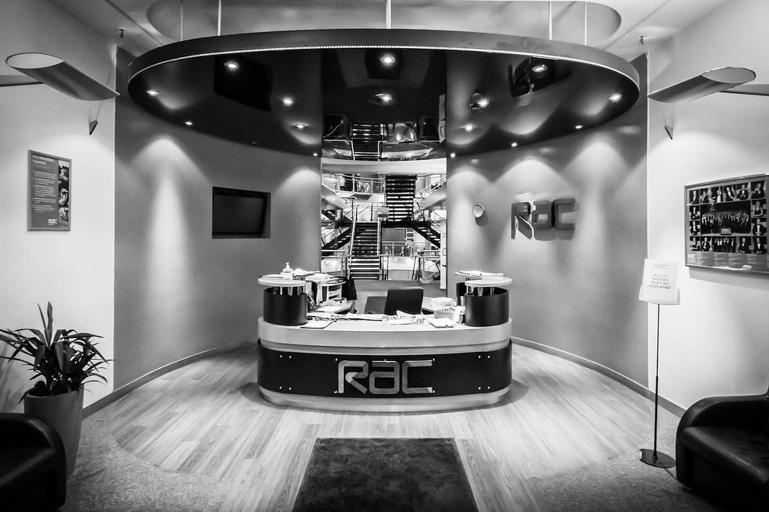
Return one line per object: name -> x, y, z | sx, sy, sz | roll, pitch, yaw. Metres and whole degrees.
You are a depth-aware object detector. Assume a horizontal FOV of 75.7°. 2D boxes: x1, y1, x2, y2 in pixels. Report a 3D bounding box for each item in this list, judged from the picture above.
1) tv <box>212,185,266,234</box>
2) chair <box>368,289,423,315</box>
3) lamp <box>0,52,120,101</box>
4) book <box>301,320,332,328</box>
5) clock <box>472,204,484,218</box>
tv -> -2.535, -0.824, 8.440 | 0.122, 0.614, 0.883 | 6, 5, 40
chair -> 0.165, 0.628, 6.770 | 0.403, 0.358, 0.595 | 2, 1, -9
lamp -> -3.042, -1.696, 4.661 | 0.474, 0.204, 0.978 | -8, -12, 14
book -> -0.884, 0.873, 6.408 | 0.386, 0.062, 0.317 | 0, 2, 0
clock -> 1.717, -0.845, 9.185 | 0.228, 0.264, 0.075 | 3, 4, 43
